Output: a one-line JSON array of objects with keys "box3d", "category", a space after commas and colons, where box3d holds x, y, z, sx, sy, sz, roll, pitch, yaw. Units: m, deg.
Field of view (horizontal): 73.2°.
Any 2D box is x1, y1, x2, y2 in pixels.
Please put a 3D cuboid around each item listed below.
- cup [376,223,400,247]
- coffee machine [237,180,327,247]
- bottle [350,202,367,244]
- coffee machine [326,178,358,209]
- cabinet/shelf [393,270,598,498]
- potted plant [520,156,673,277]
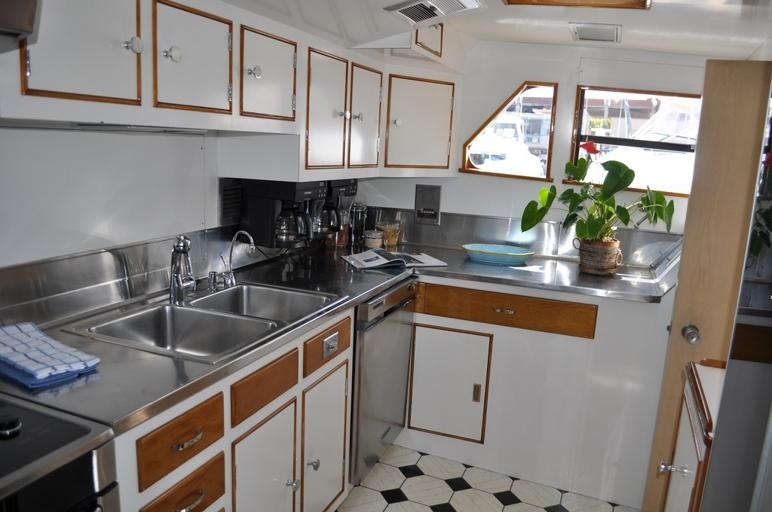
[{"box3d": [0.025, -0.159, 3.653, 0.160, 0.172, 0.168, 0, 12, 0], "category": "cup"}, {"box3d": [-0.551, -0.238, 2.834, 0.391, 0.351, 0.287, 8, 11, 28], "category": "coffee machine"}, {"box3d": [-0.201, -0.222, 3.637, 0.087, 0.276, 0.171, 5, 10, 14], "category": "bottle"}, {"box3d": [-0.279, -0.398, 3.256, 0.183, 0.248, 0.187, 9, 19, 27], "category": "coffee machine"}, {"box3d": [0.664, 0.711, 2.969, 1.147, 1.043, 0.578, 7, 8, 20], "category": "cabinet/shelf"}, {"box3d": [1.305, -0.268, 3.187, 0.791, 0.718, 0.664, 8, 11, 27], "category": "potted plant"}]
